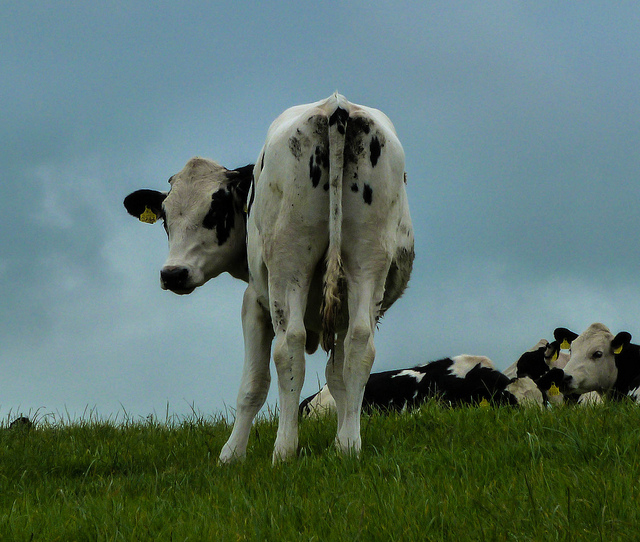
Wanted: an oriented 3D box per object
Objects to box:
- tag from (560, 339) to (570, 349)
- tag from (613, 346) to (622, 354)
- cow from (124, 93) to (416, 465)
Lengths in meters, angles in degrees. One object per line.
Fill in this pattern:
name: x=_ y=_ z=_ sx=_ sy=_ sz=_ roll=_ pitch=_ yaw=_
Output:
tag: x=3.382 y=1.001 z=16.142 sx=0.111 sy=0.155 sz=0.026 roll=3 pitch=7 yaw=29
tag: x=3.732 y=0.993 z=14.654 sx=0.054 sy=0.039 sz=0.154 roll=20 pitch=-36 yaw=-27
cow: x=-0.292 y=0.316 z=10.821 sx=1.400 sy=3.030 sz=4.034 roll=5 pitch=-8 yaw=-11
